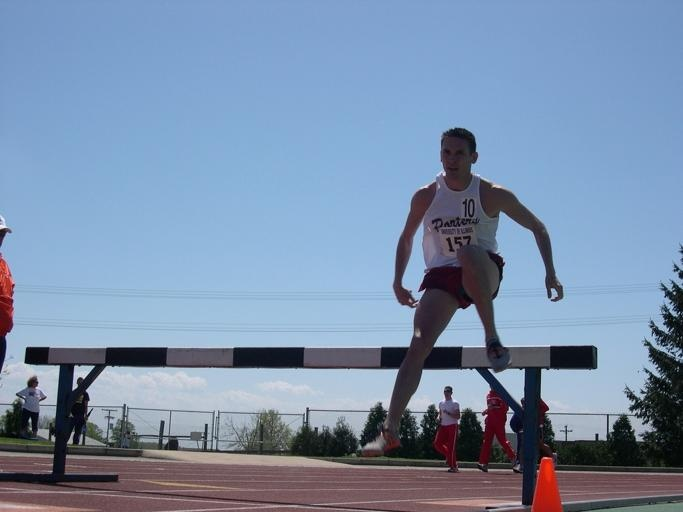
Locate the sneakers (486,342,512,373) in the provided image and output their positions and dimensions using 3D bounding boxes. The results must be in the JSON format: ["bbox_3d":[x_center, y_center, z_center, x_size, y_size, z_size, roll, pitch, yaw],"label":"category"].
[{"bbox_3d":[1.037,0.680,4.573,0.163,0.243,0.268,-1,-20,14],"label":"sneakers"}]

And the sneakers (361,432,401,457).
[{"bbox_3d":[0.249,1.223,4.438,0.225,0.165,0.251,2,-20,8],"label":"sneakers"}]

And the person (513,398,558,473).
[{"bbox_3d":[3.277,3.039,11.731,0.779,1.294,0.631,2,-20,13],"label":"person"}]

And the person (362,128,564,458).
[{"bbox_3d":[0.793,0.248,4.718,1.154,2.259,0.567,-2,-19,16],"label":"person"}]
